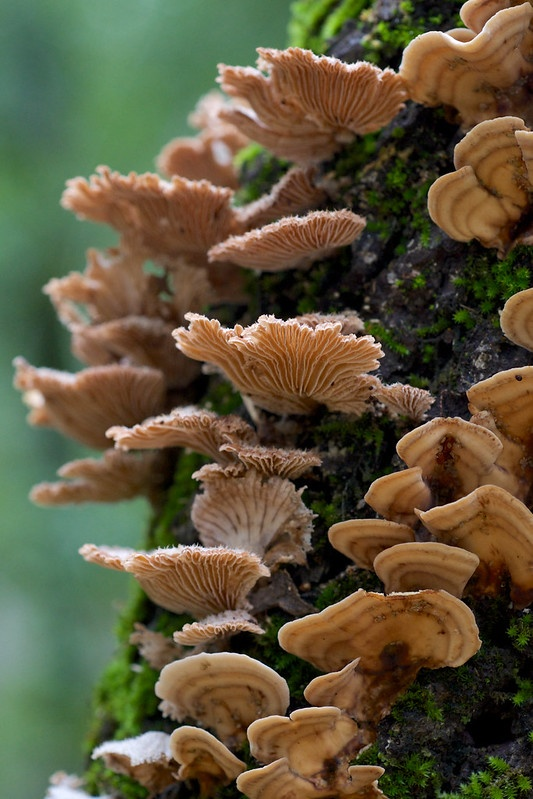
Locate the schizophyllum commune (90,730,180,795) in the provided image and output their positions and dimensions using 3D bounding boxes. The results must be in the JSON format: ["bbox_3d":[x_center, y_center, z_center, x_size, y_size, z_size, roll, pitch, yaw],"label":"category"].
[{"bbox_3d":[-0.588,1.798,4.821,0.409,0.424,0.150,5,72,55],"label":"schizophyllum commune"}]

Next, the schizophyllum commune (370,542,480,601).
[{"bbox_3d":[0.664,0.727,4.175,0.376,0.326,0.079,-28,32,23],"label":"schizophyllum commune"}]
